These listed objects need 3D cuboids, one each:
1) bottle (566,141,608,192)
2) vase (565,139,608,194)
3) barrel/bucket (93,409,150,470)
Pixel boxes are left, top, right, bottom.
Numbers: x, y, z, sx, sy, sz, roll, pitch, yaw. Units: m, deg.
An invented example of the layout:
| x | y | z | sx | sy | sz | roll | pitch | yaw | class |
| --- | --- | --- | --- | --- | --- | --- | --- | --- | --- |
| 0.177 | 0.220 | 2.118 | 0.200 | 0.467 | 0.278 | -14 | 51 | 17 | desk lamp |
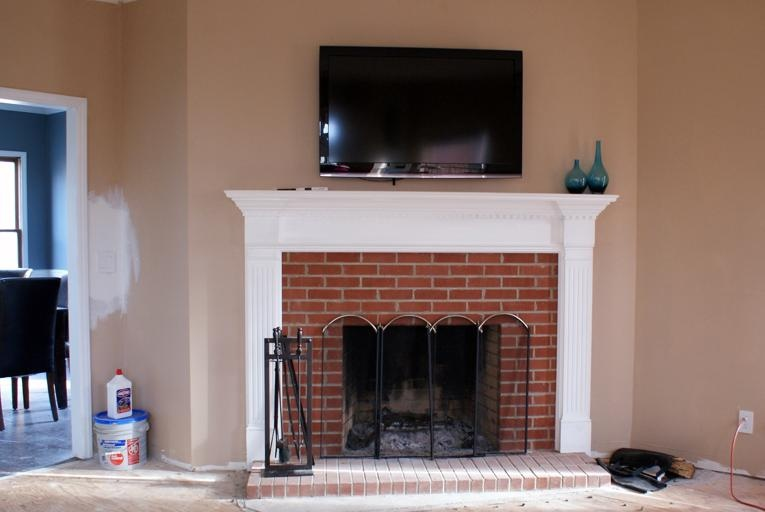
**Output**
| x | y | z | sx | sy | sz | roll | pitch | yaw | class |
| --- | --- | --- | --- | --- | --- | --- | --- | --- | --- |
| 1.488 | -0.630 | 5.548 | 0.312 | 0.402 | 0.238 | 2 | -5 | 14 | bottle |
| 1.469 | -0.649 | 5.519 | 0.387 | 0.480 | 0.203 | 1 | -4 | 2 | vase |
| -1.875 | 1.310 | 5.518 | 0.374 | 0.355 | 0.377 | -1 | -1 | 0 | barrel/bucket |
